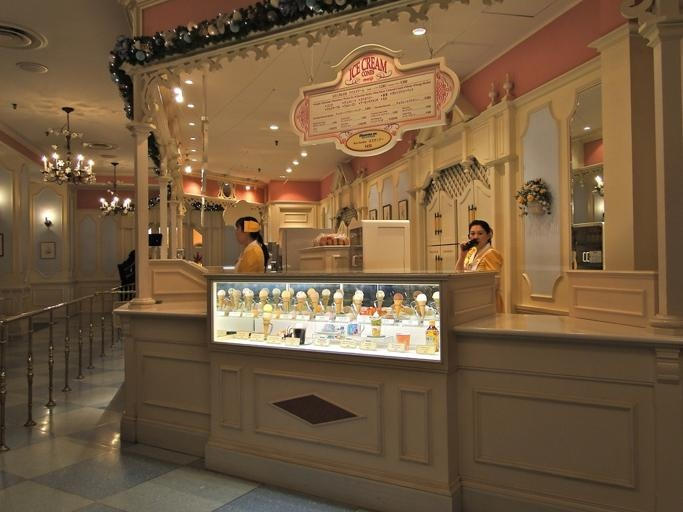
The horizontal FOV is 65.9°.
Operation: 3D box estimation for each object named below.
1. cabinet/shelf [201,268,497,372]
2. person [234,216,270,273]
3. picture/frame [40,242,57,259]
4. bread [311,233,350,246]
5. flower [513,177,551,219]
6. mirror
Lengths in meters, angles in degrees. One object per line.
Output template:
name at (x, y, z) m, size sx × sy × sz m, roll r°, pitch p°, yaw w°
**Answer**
cabinet/shelf at (-0.114, 0.442, 4.167) m, size 2.023 × 0.630 × 0.255 m, roll 0°, pitch -2°, yaw 23°
person at (-0.895, -0.133, 5.270) m, size 0.334 × 0.561 × 0.714 m, roll 1°, pitch -2°, yaw -8°
picture/frame at (-7.115, -0.160, 12.755) m, size 0.364 × 0.527 × 0.048 m, roll 1°, pitch 4°, yaw -23°
bread at (-0.102, -0.166, 5.220) m, size 0.162 × 0.117 × 0.581 m, roll 1°, pitch -2°, yaw -26°
flower at (2.179, -0.688, 6.106) m, size 0.234 × 0.434 × 0.471 m, roll 1°, pitch -2°, yaw -22°
mirror at (2.539, -0.896, 5.557) m, size 0.403 × 1.860 × 0.027 m, roll -2°, pitch 0°, yaw -8°
